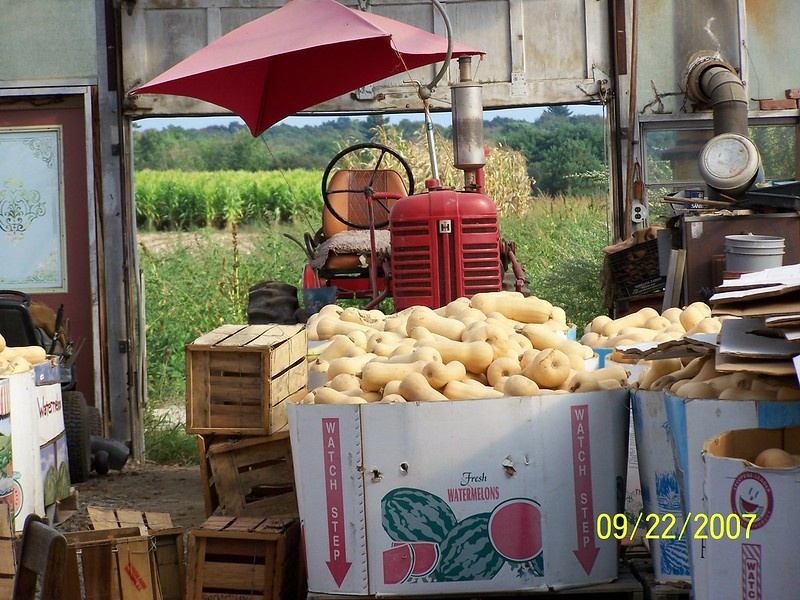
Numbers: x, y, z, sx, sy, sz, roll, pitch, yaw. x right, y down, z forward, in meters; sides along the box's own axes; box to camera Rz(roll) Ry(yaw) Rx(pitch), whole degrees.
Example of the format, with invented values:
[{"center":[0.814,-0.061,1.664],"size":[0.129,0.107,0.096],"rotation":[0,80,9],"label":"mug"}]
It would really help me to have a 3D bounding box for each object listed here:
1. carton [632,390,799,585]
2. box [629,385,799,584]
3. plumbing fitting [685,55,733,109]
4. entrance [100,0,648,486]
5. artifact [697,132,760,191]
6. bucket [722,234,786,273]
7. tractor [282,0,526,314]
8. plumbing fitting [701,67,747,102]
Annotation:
[{"center":[1.789,1.058,7.910],"size":[0.784,0.937,1.008],"rotation":[-4,-4,16],"label":"carton"},{"center":[1.774,1.037,7.842],"size":[0.791,0.936,0.985],"rotation":[-5,-5,16],"label":"box"},{"center":[2.668,-1.986,12.099],"size":[0.332,0.491,0.412],"rotation":[5,24,0],"label":"plumbing fitting"},{"center":[-0.281,-0.651,11.914],"size":[2.529,2.871,3.468],"rotation":[-2,2,24],"label":"entrance"},{"center":[2.556,-1.084,10.793],"size":[0.377,0.477,0.403],"rotation":[-15,-3,20],"label":"artifact"},{"center":[2.607,-0.349,10.255],"size":[0.351,0.476,0.392],"rotation":[1,4,21],"label":"bucket"},{"center":[0.391,-1.035,12.359],"size":[2.664,3.359,1.686],"rotation":[0,1,44],"label":"tractor"},{"center":[2.750,-1.849,11.793],"size":[0.361,0.220,0.282],"rotation":[-3,1,14],"label":"plumbing fitting"}]
